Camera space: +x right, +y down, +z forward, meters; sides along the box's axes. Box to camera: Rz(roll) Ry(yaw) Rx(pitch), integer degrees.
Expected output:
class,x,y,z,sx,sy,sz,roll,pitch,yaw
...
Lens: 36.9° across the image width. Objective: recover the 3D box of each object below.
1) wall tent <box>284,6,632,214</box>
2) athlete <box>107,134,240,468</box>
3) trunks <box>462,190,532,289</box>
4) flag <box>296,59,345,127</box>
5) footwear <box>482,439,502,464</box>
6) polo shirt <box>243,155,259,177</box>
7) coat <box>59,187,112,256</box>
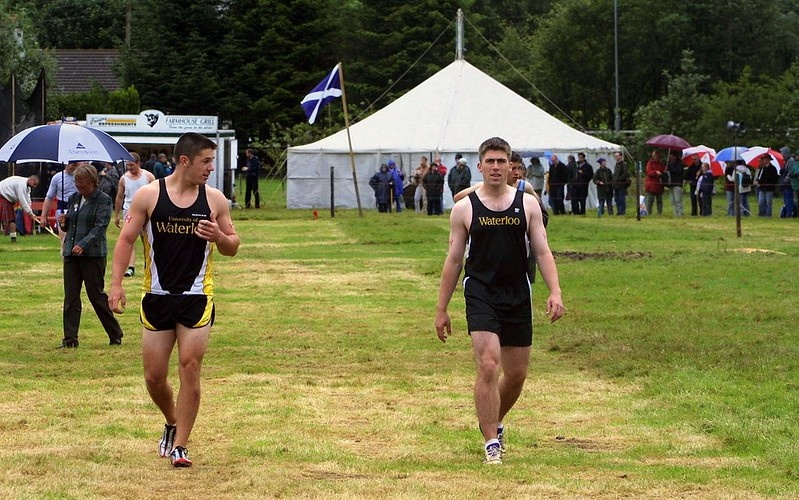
class,x,y,z,sx,sy,sz,roll,pitch,yaw
wall tent,1.834,-4.800,49.291,10.374,6.406,10.046,0,1,6
athlete,-3.472,0.744,18.645,1.816,5.117,0.980,0,5,-8
trunks,1.701,-0.257,18.948,1.305,1.651,1.024,-2,8,18
flag,-2.875,-5.688,43.753,1.515,2.040,1.339,-2,5,-27
footwear,1.436,3.104,18.529,0.269,0.391,0.271,1,5,4
polo shirt,-5.655,-3.203,45.634,0.499,0.782,0.781,0,5,-13
coat,-6.051,-0.530,23.062,1.156,1.349,0.950,2,-2,40
